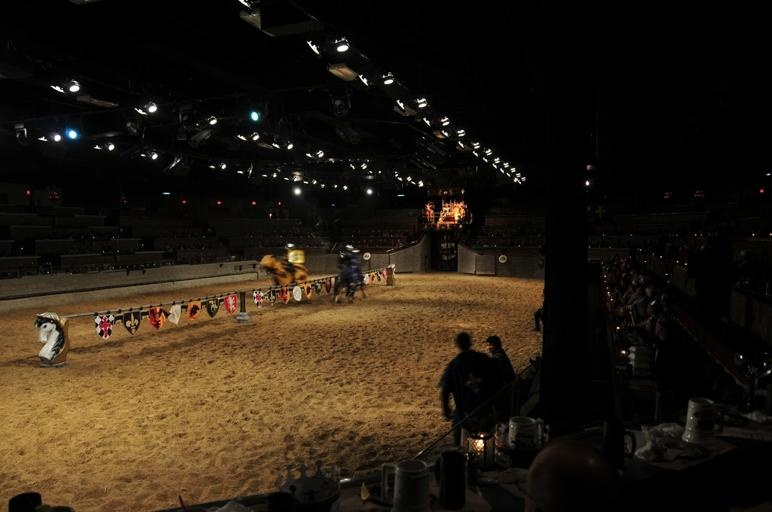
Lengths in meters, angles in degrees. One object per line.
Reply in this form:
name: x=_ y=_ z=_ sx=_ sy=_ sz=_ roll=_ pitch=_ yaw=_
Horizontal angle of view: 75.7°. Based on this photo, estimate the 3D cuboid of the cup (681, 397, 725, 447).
cup: x=3.160 y=1.642 z=4.949 sx=0.479 sy=0.373 sz=0.260 roll=-7 pitch=10 yaw=-43

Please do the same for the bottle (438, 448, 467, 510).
bottle: x=0.562 y=1.897 z=4.224 sx=0.239 sy=0.447 sz=0.231 roll=0 pitch=8 yaw=0

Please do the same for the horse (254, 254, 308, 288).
horse: x=-4.602 y=0.759 z=22.306 sx=0.832 sy=1.349 sz=2.789 roll=4 pitch=0 yaw=33

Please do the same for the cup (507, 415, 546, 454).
cup: x=1.411 y=1.778 z=4.966 sx=0.318 sy=0.190 sz=0.321 roll=-3 pitch=2 yaw=0
